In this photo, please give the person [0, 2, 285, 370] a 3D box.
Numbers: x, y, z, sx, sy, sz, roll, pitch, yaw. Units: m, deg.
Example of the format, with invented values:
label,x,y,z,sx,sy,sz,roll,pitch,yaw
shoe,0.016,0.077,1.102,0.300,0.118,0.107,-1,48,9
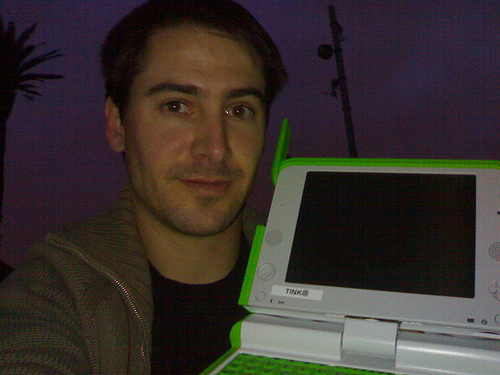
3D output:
label,x,y,z,sx,sy,sz,roll,pitch,yaw
person,-0.432,0.130,2.544,0.858,1.285,1.809,7,10,43
